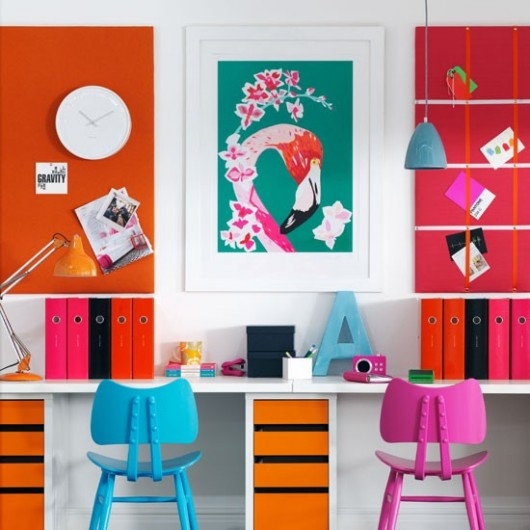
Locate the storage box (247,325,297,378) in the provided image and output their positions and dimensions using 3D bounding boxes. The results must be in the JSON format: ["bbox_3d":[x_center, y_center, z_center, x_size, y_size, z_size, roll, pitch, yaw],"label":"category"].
[{"bbox_3d":[0.013,0.381,3.111,0.174,0.244,0.212,-1,-5,3],"label":"storage box"}]

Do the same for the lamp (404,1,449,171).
[{"bbox_3d":[0.709,-0.828,3.106,0.174,0.824,0.422,-2,2,15],"label":"lamp"}]

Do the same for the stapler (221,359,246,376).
[{"bbox_3d":[-0.144,0.467,3.193,0.076,0.037,0.078,2,40,1],"label":"stapler"}]

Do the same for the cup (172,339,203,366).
[{"bbox_3d":[-0.359,0.401,3.202,0.116,0.117,0.083,-3,-7,26],"label":"cup"}]

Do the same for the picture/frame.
[{"bbox_3d":[0.076,-0.501,3.280,0.897,1.625,0.060,0,-2,-1],"label":"picture/frame"}]

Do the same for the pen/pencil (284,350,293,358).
[{"bbox_3d":[0.099,0.398,3.083,0.023,0.029,0.006,1,9,31],"label":"pen/pencil"}]
